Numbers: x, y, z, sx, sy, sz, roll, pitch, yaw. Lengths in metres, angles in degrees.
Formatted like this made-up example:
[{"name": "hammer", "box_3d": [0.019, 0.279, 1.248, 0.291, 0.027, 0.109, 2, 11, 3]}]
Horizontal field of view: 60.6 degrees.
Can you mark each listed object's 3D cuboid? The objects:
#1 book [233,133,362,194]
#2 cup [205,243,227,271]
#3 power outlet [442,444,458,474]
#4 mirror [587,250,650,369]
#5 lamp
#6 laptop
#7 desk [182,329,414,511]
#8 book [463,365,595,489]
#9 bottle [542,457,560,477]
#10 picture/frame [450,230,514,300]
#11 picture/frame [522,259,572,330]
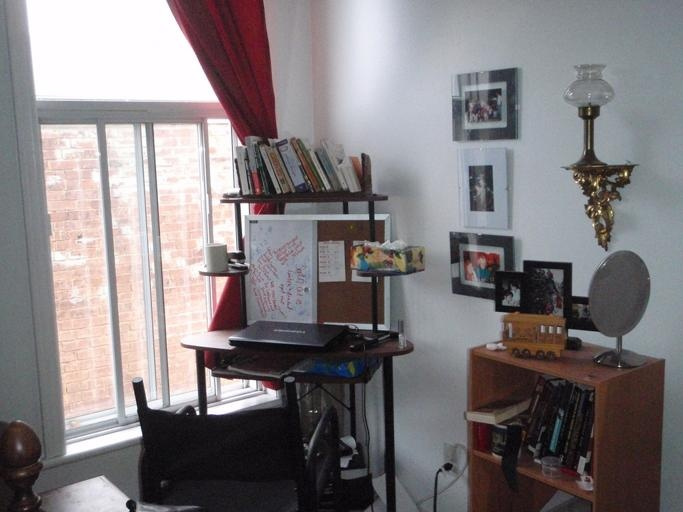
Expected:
[{"name": "book", "box_3d": [-0.241, -0.513, 3.289, 0.707, 0.325, 0.144, -1, 6, 12]}, {"name": "cup", "box_3d": [-0.709, 0.009, 3.389, 0.141, 0.157, 0.140, 0, 3, 0]}, {"name": "power outlet", "box_3d": [0.603, 1.091, 3.201, 0.074, 0.152, 0.113, -2, 6, 7]}, {"name": "mirror", "box_3d": [1.105, 0.203, 2.297, 0.282, 0.446, 0.143, -6, 7, -31]}, {"name": "lamp", "box_3d": [1.075, -0.390, 2.408, 0.227, 0.761, 0.261, 2, 7, 39]}, {"name": "laptop", "box_3d": [-0.273, 0.427, 3.119, 0.555, 0.102, 0.346, 0, 6, 18]}, {"name": "desk", "box_3d": [-0.173, 0.789, 2.869, 1.095, 0.953, 0.466, -1, 0, 17]}, {"name": "book", "box_3d": [0.854, 0.704, 2.427, 0.113, 0.454, 0.455, 4, -4, -43]}, {"name": "bottle", "box_3d": [0.852, 0.851, 2.365, 0.062, 0.046, 0.062, -2, -4, 0]}, {"name": "picture/frame", "box_3d": [0.716, 0.036, 2.917, 0.029, 0.296, 0.341, -1, 6, -41]}, {"name": "picture/frame", "box_3d": [0.889, 0.169, 2.502, 0.281, 0.380, 0.020, 3, 10, 29]}]
